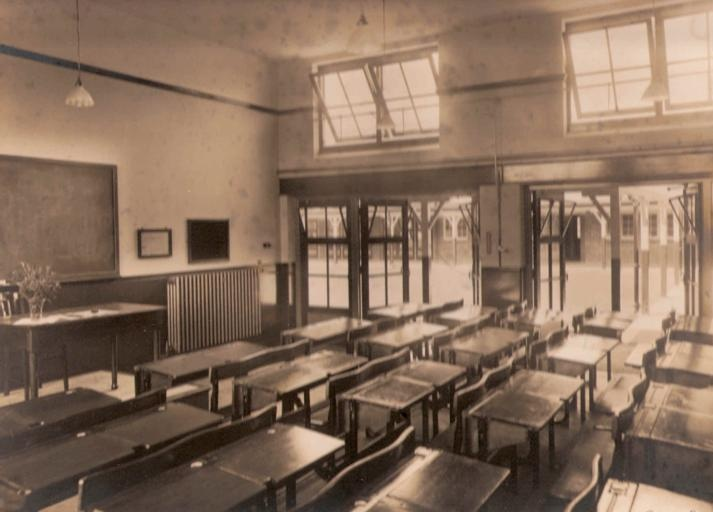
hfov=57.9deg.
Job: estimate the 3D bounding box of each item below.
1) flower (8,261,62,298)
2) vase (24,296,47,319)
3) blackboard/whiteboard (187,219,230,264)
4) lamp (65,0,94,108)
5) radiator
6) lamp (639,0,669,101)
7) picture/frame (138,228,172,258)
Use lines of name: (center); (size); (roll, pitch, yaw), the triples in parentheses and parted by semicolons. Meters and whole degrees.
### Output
flower: (-3.432, 0.260, 6.921); (0.418, 0.337, 0.453); (6, -5, 30)
vase: (-3.402, 0.547, 6.830); (0.188, 0.221, 0.203); (-6, -8, 39)
blackboard/whiteboard: (-2.111, -0.204, 9.073); (0.059, 0.522, 0.598); (-2, 0, 35)
lamp: (-3.165, -2.280, 7.297); (0.320, 0.950, 0.839); (-4, 2, -22)
radiator: (-1.979, 0.748, 8.967); (0.170, 1.057, 1.408); (6, 6, 35)
lamp: (3.214, -2.262, 7.008); (0.238, 1.224, 0.766); (-2, 3, 24)
picture/frame: (-2.658, -0.168, 8.438); (0.041, 0.334, 0.380); (0, 0, 38)
